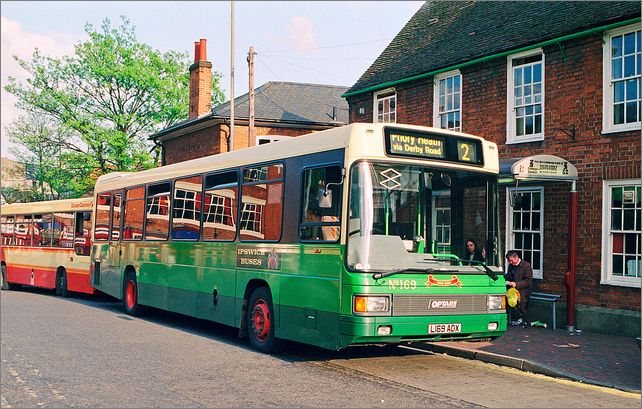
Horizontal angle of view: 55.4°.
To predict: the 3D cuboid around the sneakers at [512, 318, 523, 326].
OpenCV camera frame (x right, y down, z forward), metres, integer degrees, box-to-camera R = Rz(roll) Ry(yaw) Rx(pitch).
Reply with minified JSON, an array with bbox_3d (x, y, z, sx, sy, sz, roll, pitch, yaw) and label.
[{"bbox_3d":[5.549,3.297,17.181,0.134,0.189,0.454,-7,-15,42],"label":"sneakers"}]
